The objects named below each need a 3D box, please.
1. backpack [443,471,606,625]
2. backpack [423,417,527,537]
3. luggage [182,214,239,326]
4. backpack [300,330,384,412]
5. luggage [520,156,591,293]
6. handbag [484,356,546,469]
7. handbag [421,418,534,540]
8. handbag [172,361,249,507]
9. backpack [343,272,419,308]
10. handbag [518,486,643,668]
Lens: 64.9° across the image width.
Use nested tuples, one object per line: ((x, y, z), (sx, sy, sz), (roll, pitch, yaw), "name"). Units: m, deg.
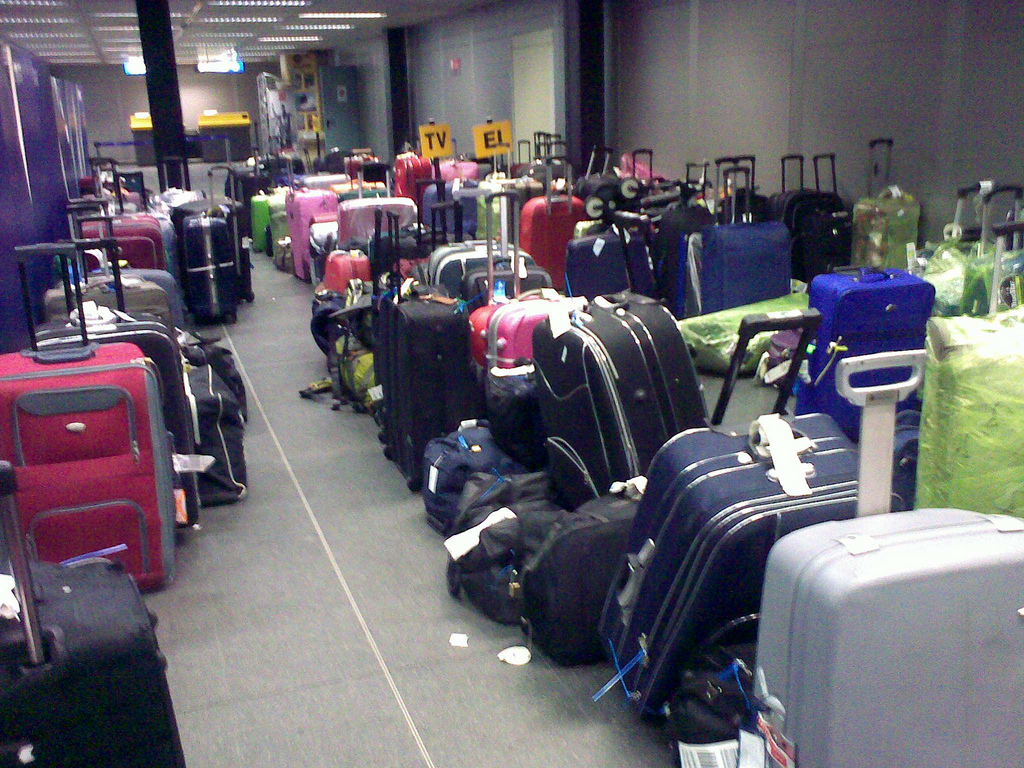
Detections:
((-0.063, 0.621, 3.198), (0.414, 0.610, 0.242), (3, -7, 18), "backpack")
((-0.254, 0.375, 3.815), (0.483, 0.574, 0.374), (-9, 18, -26), "backpack")
((-2.768, -1.057, 7.344), (0.383, 0.706, 1.055), (-4, -15, -14), "luggage")
((-1.082, -0.020, 5.340), (0.634, 0.297, 0.526), (-11, 53, -10), "backpack")
((0.431, -1.583, 7.532), (0.586, 1.255, 0.414), (-4, 42, 0), "luggage")
((0.019, 0.142, 3.596), (0.207, 0.400, 0.381), (-10, 14, -17), "handbag")
((-0.189, 0.441, 3.804), (0.490, 0.560, 0.374), (-8, 18, -25), "handbag")
((-1.578, 0.240, 4.464), (0.337, 0.741, 0.720), (0, 14, -6), "handbag")
((-0.793, -0.541, 5.093), (0.533, 0.232, 0.324), (-5, 9, -14), "backpack")
((0.233, 0.678, 2.729), (0.299, 0.431, 0.438), (19, 19, 11), "handbag")
